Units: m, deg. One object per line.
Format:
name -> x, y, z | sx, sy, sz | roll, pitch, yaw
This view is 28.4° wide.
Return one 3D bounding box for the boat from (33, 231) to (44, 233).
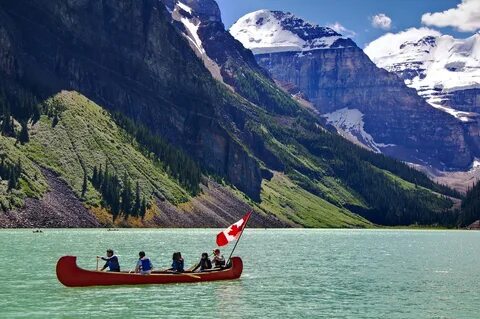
boat -> -136.523, 48.211, 643.531 | 6.527, 1.855, 11.441 | 2, 0, -13
